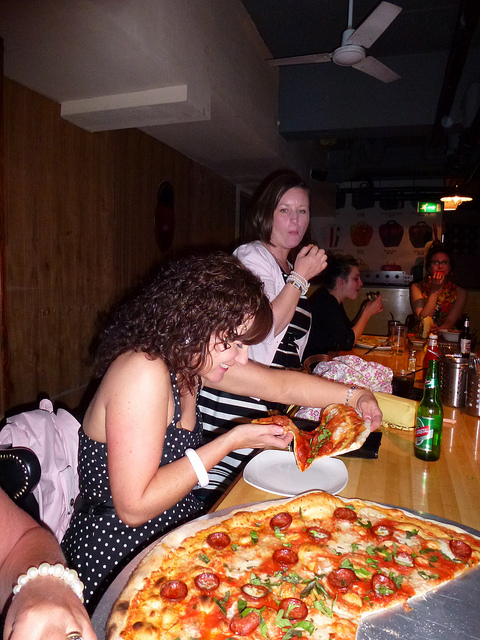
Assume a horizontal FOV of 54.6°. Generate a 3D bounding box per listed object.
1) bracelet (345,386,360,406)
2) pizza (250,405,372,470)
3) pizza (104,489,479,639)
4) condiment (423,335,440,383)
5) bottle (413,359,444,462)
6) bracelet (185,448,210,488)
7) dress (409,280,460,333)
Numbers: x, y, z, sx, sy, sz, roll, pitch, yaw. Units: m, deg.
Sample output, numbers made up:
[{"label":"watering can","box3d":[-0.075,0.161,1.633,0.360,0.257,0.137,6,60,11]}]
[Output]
[{"label":"bracelet","box3d":[0.381,0.256,1.597,0.021,0.058,0.044,15,-14,1]},{"label":"pizza","box3d":[0.247,0.308,1.301,0.201,0.075,0.173,-1,19,-13]},{"label":"pizza","box3d":[0.138,0.464,0.887,0.670,0.120,0.423,-3,12,5]},{"label":"condiment","box3d":[0.805,0.170,1.960,0.072,0.258,0.075,5,28,21]},{"label":"bottle","box3d":[0.567,0.261,1.399,0.081,0.266,0.260,2,14,24]},{"label":"bracelet","box3d":[-0.112,0.366,1.165,0.036,0.088,0.087,-12,15,-33]},{"label":"dress","box3d":[1.824,-0.125,4.341,0.362,0.485,0.251,19,2,10]}]
